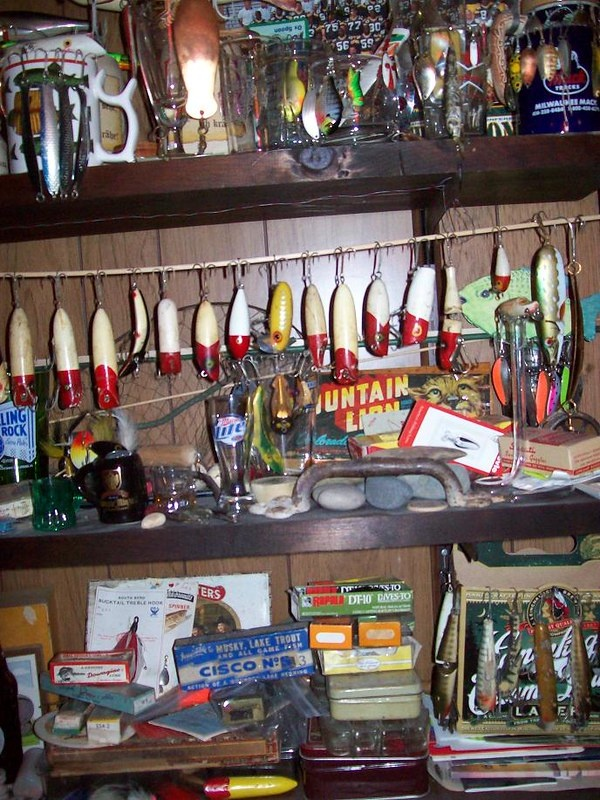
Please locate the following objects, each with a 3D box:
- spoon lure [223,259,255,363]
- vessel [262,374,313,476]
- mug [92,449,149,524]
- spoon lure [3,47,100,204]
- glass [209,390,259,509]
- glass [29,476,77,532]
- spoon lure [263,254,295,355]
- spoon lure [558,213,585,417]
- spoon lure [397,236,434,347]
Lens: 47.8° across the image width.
[{"bbox_3d":[-0.087,-0.109,0.939,0.032,0.107,0.070,-6,8,-6],"label":"spoon lure"},{"bbox_3d":[-0.020,0.020,1.024,0.101,0.170,0.113,-2,14,-1],"label":"vessel"},{"bbox_3d":[-0.258,0.119,0.911,0.094,0.096,0.061,-7,3,-22],"label":"mug"},{"bbox_3d":[-0.310,-0.342,0.834,0.111,0.192,0.086,-6,8,-12],"label":"spoon lure"},{"bbox_3d":[-0.090,0.070,0.920,0.054,0.149,0.079,-6,8,-7],"label":"glass"},{"bbox_3d":[-0.324,0.139,0.888,0.050,0.069,0.075,-18,-20,36],"label":"glass"},{"bbox_3d":[-0.030,-0.120,0.980,0.041,0.099,0.105,-5,8,-2],"label":"spoon lure"},{"bbox_3d":[0.403,-0.126,1.004,0.029,0.275,0.198,-1,9,21],"label":"spoon lure"},{"bbox_3d":[0.162,-0.130,0.931,0.047,0.108,0.056,-4,8,8],"label":"spoon lure"}]
